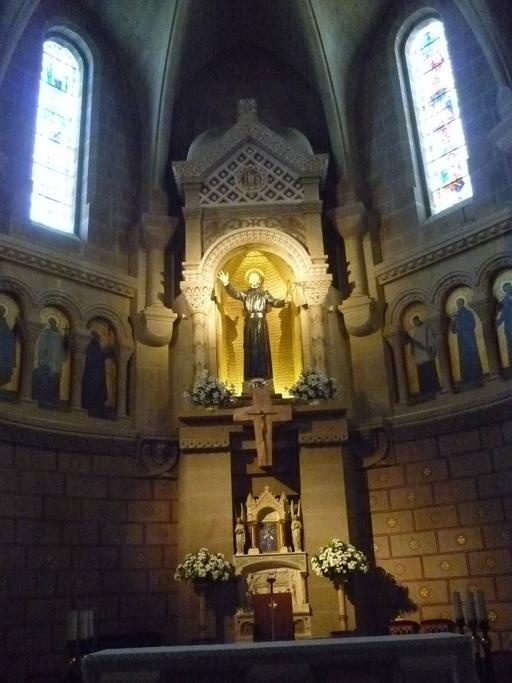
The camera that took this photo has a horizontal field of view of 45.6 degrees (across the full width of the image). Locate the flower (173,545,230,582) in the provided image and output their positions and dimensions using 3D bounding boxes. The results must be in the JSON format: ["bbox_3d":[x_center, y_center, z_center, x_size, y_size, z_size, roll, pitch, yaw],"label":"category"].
[{"bbox_3d":[-0.802,3.482,9.407,0.608,0.350,0.634,6,-13,-16],"label":"flower"}]

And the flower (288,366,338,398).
[{"bbox_3d":[1.017,0.768,10.883,0.582,0.489,0.582,-9,-23,18],"label":"flower"}]

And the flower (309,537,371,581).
[{"bbox_3d":[1.245,3.468,9.428,1.218,0.638,1.225,-8,-28,8],"label":"flower"}]

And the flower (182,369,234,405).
[{"bbox_3d":[-0.791,0.828,10.910,0.610,0.536,0.612,2,-9,-8],"label":"flower"}]

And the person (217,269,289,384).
[{"bbox_3d":[-0.011,-0.329,12.041,1.141,2.342,0.661,-4,-13,3],"label":"person"}]
